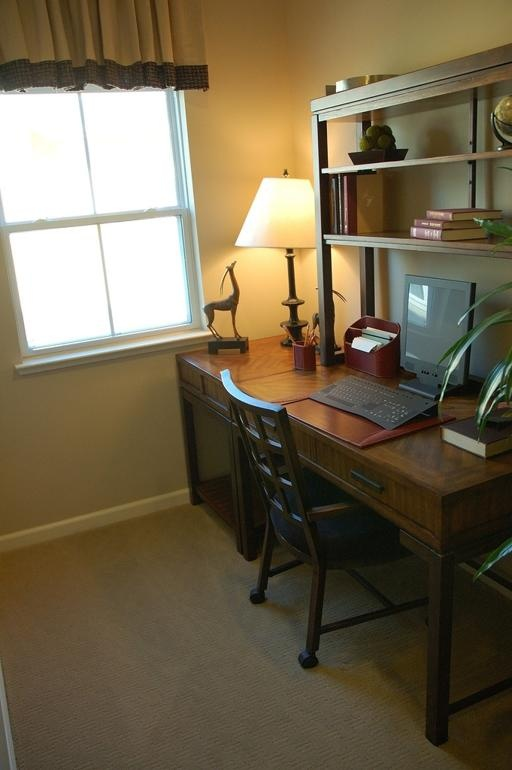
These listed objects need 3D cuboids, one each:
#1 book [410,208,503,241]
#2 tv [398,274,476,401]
[{"bbox_3d":[0.553,-0.442,1.605,0.237,0.092,0.140,-2,13,17],"label":"book"},{"bbox_3d":[0.557,-0.141,1.753,0.129,0.393,0.288,-7,20,-20],"label":"tv"}]
